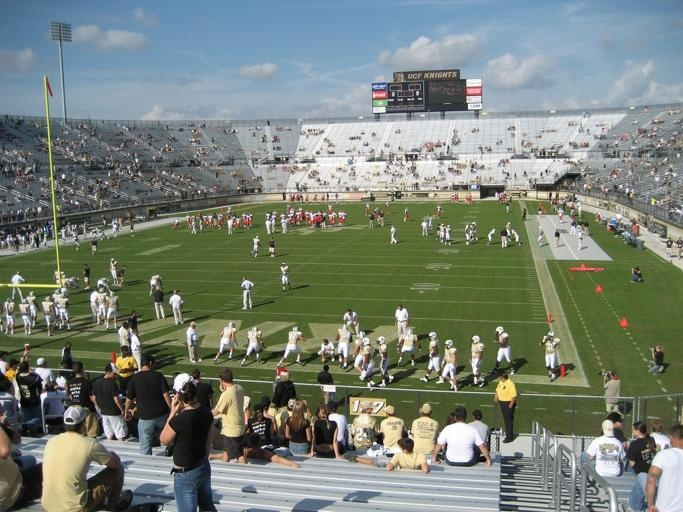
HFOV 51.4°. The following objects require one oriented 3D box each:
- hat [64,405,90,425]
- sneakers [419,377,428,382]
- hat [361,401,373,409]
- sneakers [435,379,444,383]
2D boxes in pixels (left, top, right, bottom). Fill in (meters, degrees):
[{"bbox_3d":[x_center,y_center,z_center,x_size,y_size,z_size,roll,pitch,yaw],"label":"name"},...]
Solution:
[{"bbox_3d":[-3.313,1.956,8.823,0.230,0.221,0.339,-5,4,-16],"label":"hat"},{"bbox_3d":[2.117,3.111,17.954,0.219,0.107,0.266,-3,4,5],"label":"sneakers"},{"bbox_3d":[0.492,2.861,13.467,0.264,0.131,0.327,1,-3,-7],"label":"hat"},{"bbox_3d":[2.494,3.150,17.837,0.207,0.138,0.077,3,-5,14],"label":"sneakers"}]
